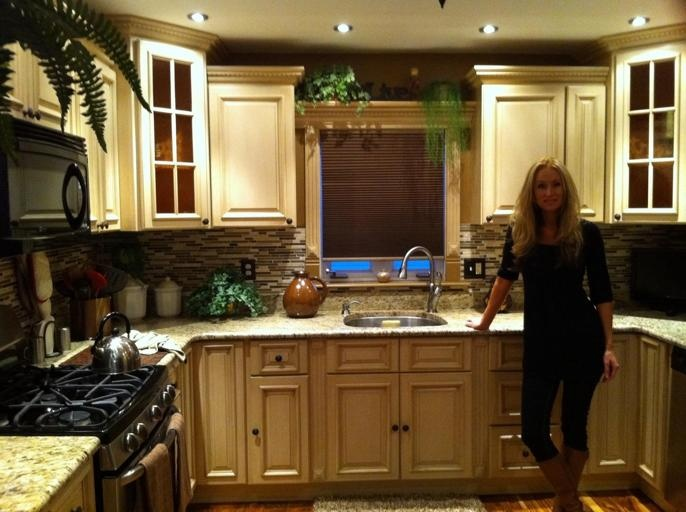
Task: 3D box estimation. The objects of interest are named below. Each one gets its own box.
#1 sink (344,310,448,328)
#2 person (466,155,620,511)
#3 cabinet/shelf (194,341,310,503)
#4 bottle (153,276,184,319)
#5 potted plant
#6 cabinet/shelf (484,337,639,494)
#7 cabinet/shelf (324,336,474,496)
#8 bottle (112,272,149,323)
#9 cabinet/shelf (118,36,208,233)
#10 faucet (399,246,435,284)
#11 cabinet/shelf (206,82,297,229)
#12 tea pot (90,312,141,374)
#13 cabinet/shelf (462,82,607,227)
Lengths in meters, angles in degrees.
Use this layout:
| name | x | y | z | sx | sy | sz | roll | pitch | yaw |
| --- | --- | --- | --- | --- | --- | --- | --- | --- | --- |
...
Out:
| name | x | y | z | sx | sy | sz | roll | pitch | yaw |
| --- | --- | --- | --- | --- | --- | --- | --- | --- | --- |
| sink | 0.343 | 0.437 | 3.970 | 0.660 | 0.111 | 0.262 | -2 | 6 | 6 |
| person | 1.172 | 0.447 | 3.265 | 0.612 | 1.965 | 0.300 | -1 | 6 | 17 |
| cabinet/shelf | -0.545 | 0.945 | 3.535 | 0.890 | 1.127 | 0.560 | 0 | -1 | -5 |
| bottle | -1.160 | 0.274 | 3.953 | 0.227 | 0.309 | 0.219 | 0 | 6 | 0 |
| potted plant | -0.749 | 0.203 | 3.913 | 0.265 | 0.200 | 0.284 | -9 | 23 | 16 |
| cabinet/shelf | 1.249 | 0.884 | 3.424 | 0.900 | 0.923 | 0.461 | 0 | -7 | 2 |
| cabinet/shelf | 0.347 | 0.902 | 3.736 | 0.990 | 0.924 | 0.375 | -1 | 7 | 0 |
| bottle | -1.336 | 0.255 | 3.838 | 0.236 | 0.361 | 0.309 | 0 | 0 | 1 |
| cabinet/shelf | -1.072 | -0.721 | 3.568 | 0.556 | 1.121 | 0.164 | -5 | 6 | -20 |
| faucet | 0.502 | 0.065 | 4.007 | 0.229 | 0.272 | 0.480 | -2 | 6 | 8 |
| cabinet/shelf | -0.591 | -0.664 | 4.002 | 0.555 | 0.979 | 0.486 | -1 | 9 | -1 |
| tea pot | -1.064 | 0.395 | 2.767 | 0.234 | 0.260 | 0.188 | 0 | 12 | -16 |
| cabinet/shelf | 1.329 | -0.646 | 4.011 | 0.768 | 0.938 | 0.449 | 2 | -9 | 12 |
